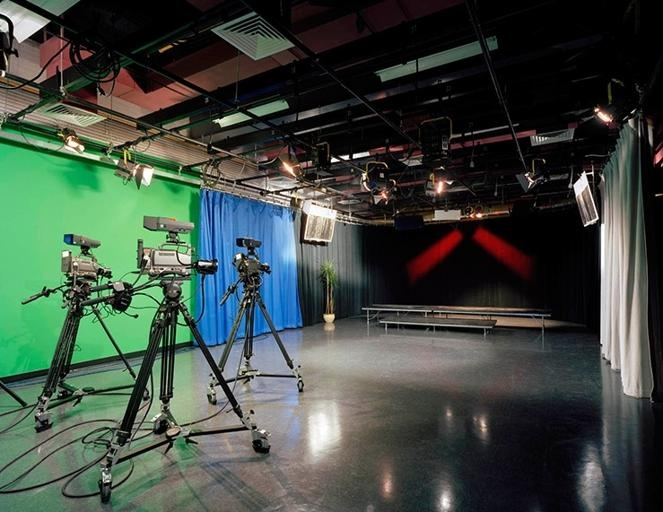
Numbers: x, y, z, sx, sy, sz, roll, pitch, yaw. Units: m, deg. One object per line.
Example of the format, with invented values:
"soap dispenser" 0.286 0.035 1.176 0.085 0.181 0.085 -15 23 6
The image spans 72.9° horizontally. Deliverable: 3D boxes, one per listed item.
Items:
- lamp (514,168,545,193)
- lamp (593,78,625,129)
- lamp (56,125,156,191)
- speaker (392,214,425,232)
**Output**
"lamp" 3.666 -1.410 8.325 0.411 0.336 0.797 1 6 15
"lamp" 3.381 -1.843 5.548 0.340 0.591 0.198 -10 9 29
"lamp" -3.627 -1.549 7.367 1.284 0.827 1.230 -3 7 -25
"speaker" 2.143 -0.980 12.772 0.767 0.371 0.487 0 6 6
